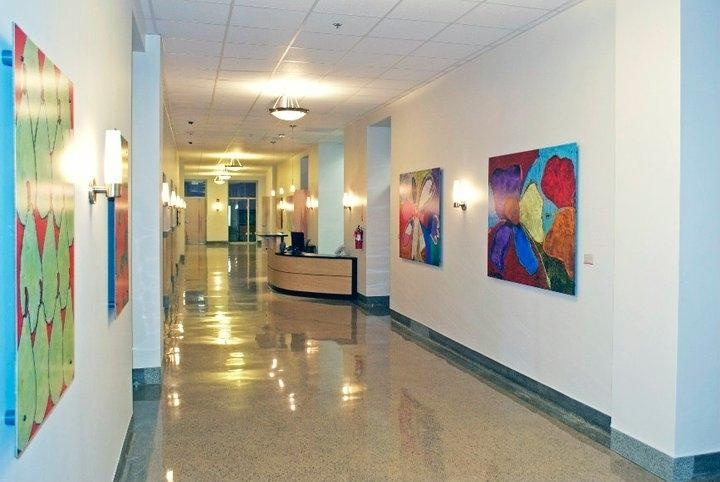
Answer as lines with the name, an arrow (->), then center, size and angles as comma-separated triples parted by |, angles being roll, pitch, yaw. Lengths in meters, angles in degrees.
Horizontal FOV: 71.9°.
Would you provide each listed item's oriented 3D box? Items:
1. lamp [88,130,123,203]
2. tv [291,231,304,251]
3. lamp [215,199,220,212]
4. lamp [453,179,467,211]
lamp -> -1.878, -0.538, 3.665 | 0.222, 0.504, 0.136 | -5, 5, -17
tv -> -1.747, 0.012, 13.887 | 0.175, 0.491, 0.468 | 1, 3, -29
lamp -> -9.136, -2.322, 31.913 | 0.400, 0.763, 0.125 | 0, 4, -12
lamp -> 1.584, -0.719, 7.872 | 0.161, 0.500, 0.303 | 0, 4, -8
